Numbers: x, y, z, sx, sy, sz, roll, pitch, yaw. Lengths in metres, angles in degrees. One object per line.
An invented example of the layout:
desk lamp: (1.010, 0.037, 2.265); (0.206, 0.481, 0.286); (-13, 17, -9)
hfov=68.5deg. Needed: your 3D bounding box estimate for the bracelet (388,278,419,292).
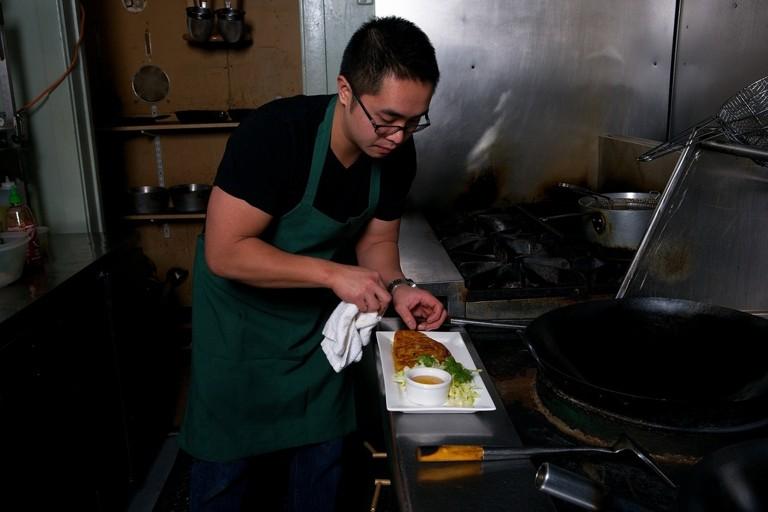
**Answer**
bracelet: (0.077, 0.101, 2.016); (0.074, 0.049, 0.076); (21, -21, -27)
